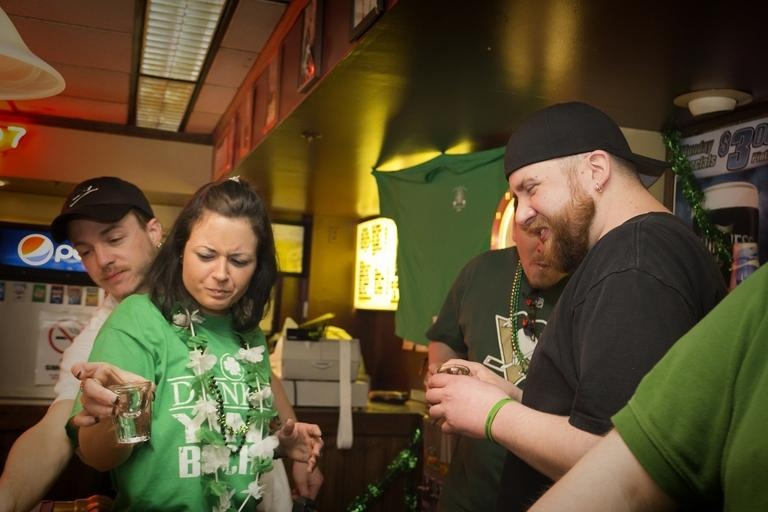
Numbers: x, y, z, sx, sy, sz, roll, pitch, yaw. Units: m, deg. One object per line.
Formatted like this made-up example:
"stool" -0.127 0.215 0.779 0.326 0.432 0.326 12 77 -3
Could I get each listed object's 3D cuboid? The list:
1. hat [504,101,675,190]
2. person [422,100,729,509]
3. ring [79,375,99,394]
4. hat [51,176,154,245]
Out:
"hat" 0.648 -0.379 1.927 0.414 0.221 0.286 -11 -2 2
"person" 0.754 0.123 2.632 1.094 1.927 1.393 3 -8 25
"ring" -0.898 0.390 1.819 0.044 0.059 0.024 3 -2 15
"hat" -1.180 -0.224 2.547 0.271 0.197 0.377 -13 -13 18
